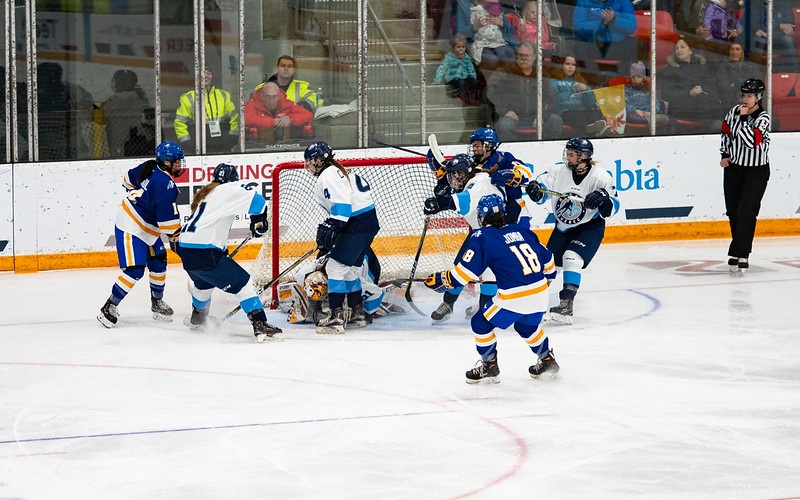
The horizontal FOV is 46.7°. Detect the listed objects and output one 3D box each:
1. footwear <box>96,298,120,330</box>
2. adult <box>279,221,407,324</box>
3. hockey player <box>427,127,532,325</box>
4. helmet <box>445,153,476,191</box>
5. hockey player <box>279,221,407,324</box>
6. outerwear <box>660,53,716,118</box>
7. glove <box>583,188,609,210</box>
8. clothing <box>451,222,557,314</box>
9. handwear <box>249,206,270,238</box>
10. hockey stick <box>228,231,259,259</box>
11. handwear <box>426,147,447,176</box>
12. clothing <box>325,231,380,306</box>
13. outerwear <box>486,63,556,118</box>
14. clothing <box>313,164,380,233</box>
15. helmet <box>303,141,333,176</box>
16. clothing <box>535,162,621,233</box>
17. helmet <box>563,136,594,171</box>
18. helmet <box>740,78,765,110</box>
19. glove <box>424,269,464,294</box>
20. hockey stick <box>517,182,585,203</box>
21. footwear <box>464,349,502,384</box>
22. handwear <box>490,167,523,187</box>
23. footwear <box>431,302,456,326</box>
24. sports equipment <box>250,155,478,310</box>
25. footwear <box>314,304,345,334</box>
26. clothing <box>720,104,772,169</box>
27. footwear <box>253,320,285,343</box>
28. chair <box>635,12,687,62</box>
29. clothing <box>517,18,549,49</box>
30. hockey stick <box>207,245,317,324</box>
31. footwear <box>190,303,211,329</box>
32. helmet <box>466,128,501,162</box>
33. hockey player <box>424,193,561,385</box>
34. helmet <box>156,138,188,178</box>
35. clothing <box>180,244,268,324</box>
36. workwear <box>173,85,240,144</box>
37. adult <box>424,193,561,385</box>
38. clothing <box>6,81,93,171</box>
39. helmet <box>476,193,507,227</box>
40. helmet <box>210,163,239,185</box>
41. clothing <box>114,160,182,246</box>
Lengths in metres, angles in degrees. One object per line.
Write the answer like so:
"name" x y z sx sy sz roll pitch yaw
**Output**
"footwear" -2.636 0.570 8.348 0.177 0.248 0.237 -4 9 -17
"adult" -0.498 0.351 8.484 1.392 0.643 0.594 -5 6 13
"hockey player" 0.729 -0.242 8.484 1.223 1.719 0.921 -4 -7 36
"helmet" 0.543 -0.712 8.201 0.332 0.292 0.245 -3 47 9
"hockey player" -0.617 0.365 8.499 1.217 0.563 0.471 -3 15 -14
"outerwear" 3.506 -2.069 11.369 0.732 0.770 0.576 -15 13 -29
"glove" 1.790 -0.477 8.381 0.209 0.093 0.150 -32 22 -18
"clothing" 0.826 0.116 6.951 0.961 0.635 0.586 -7 16 -25
"handwear" -1.202 -0.224 8.041 0.204 0.147 0.250 -9 17 -5
"hockey stick" -1.728 -0.055 10.128 0.053 0.434 0.142 12 40 -57
"handwear" 0.372 -0.834 8.946 0.221 0.270 0.104 17 50 42
"clothing" -0.446 0.179 8.190 0.280 0.795 0.280 34 48 13
"outerwear" 1.452 -1.936 11.261 1.067 0.721 0.456 1 11 -25
"clothing" -0.506 -0.548 8.313 0.495 0.622 0.824 -15 16 10
"helmet" -0.713 -0.824 8.176 0.292 0.239 0.234 -18 9 2
"clothing" 1.646 -0.460 8.660 0.506 0.690 0.881 -5 13 -44
"helmet" 1.633 -0.873 8.479 0.342 0.284 0.256 -2 10 -9
"helmet" 3.700 -1.634 9.734 0.196 0.348 0.255 2 9 21
"glove" 0.346 0.246 6.971 0.330 0.115 0.178 4 12 -10
"hockey stick" 1.411 -0.545 8.571 0.549 0.065 0.072 15 -20 -9
"footwear" 0.612 0.909 6.935 0.392 0.316 0.128 2 8 1
"handwear" 0.941 -0.651 8.205 0.221 0.081 0.164 -2 17 17
"footwear" 0.381 0.584 8.349 0.103 0.130 0.283 41 19 6
"sports equipment" -0.668 -0.337 10.348 1.774 1.709 2.839 1 4 -15
"footwear" -0.582 0.639 8.097 0.323 0.191 0.163 2 1 12
"clothing" 3.645 -1.214 9.806 0.467 0.641 0.203 3 10 26
"footwear" -1.115 0.695 7.817 0.237 0.180 0.092 -2 9 -10
"chair" 3.166 -2.626 11.215 0.538 0.608 0.642 -2 12 -8
"clothing" 1.562 -2.601 11.035 0.411 0.275 0.208 5 -8 -10
"hockey stick" -1.261 0.349 8.470 0.061 1.073 0.122 44 10 -47
"footwear" -1.765 0.596 8.199 0.208 0.263 0.164 6 23 -20
"helmet" 0.774 -0.975 8.428 0.330 0.265 0.238 -6 11 -13
"hockey player" 0.738 0.361 7.484 1.212 1.493 0.938 -18 29 -29
"helmet" -2.109 -0.842 8.437 0.338 0.274 0.234 15 9 -6
"clothing" -1.556 0.282 7.864 0.745 0.615 0.356 5 11 37
"workwear" -2.264 -1.558 10.627 0.398 0.661 0.843 18 22 40
"adult" 0.738 0.361 7.484 1.212 1.493 0.938 -18 29 -29
"clothing" -3.787 -1.503 10.119 1.091 0.835 0.252 4 7 -2
"helmet" 0.667 -0.306 6.876 0.210 0.211 0.236 -10 11 -9
"helmet" -1.508 -0.679 7.962 0.169 0.171 0.204 7 34 2
"clothing" -2.323 -0.421 8.551 0.370 0.552 0.836 -17 48 -41
